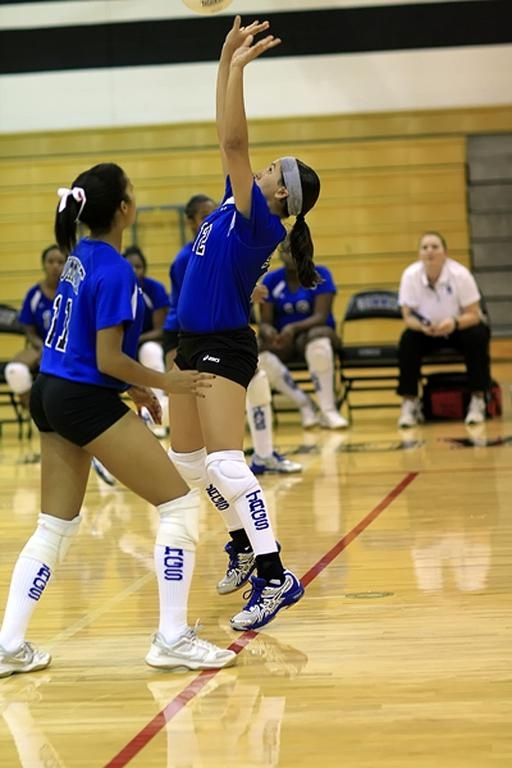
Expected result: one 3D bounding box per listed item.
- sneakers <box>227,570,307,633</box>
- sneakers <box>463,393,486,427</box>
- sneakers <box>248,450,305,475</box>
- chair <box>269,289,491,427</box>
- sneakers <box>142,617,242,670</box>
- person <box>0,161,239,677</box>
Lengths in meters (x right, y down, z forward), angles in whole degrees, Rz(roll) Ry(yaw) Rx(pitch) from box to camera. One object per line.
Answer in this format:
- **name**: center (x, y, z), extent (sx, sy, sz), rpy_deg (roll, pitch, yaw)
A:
- **sneakers**: center (0.034, 0.581, 2.129), extent (0.176, 0.091, 0.058), rpy_deg (-42, 31, -12)
- **sneakers**: center (1.438, 0.163, 5.211), extent (0.132, 0.166, 0.175), rpy_deg (-4, 1, 14)
- **sneakers**: center (0.112, 0.427, 4.409), extent (0.340, 0.142, 0.110), rpy_deg (0, 8, -2)
- **chair**: center (1.053, -0.124, 5.712), extent (1.272, 1.089, 0.974), rpy_deg (-3, -4, 6)
- **sneakers**: center (-0.140, 0.594, 1.829), extent (0.222, 0.095, 0.084), rpy_deg (2, -5, -5)
- **person**: center (-0.351, 0.079, 1.801), extent (0.453, 1.114, 0.310), rpy_deg (-3, 1, 34)
